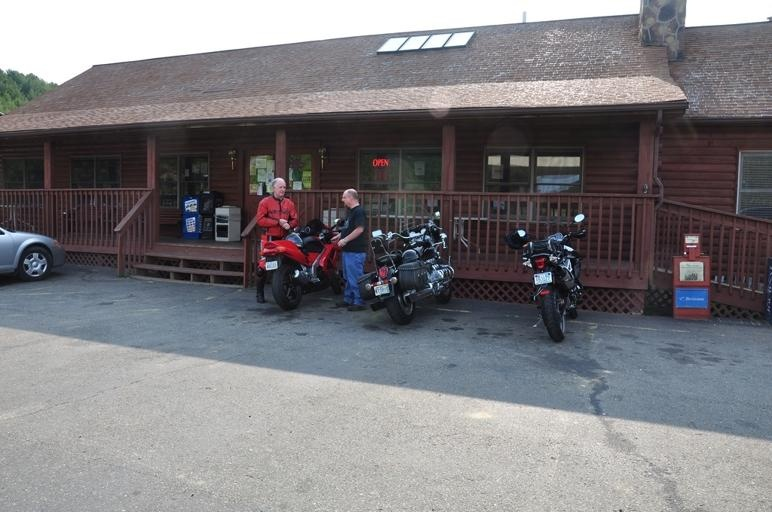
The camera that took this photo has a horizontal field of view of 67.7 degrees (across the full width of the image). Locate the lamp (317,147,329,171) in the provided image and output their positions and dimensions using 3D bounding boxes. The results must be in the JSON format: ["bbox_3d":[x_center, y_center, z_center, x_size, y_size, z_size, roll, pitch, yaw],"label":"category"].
[{"bbox_3d":[-1.686,-2.594,15.301,0.238,0.633,0.107,0,12,-7],"label":"lamp"}]

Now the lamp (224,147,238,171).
[{"bbox_3d":[-4.368,-2.733,16.296,0.373,0.612,0.126,8,13,29],"label":"lamp"}]

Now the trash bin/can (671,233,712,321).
[{"bbox_3d":[5.327,0.366,10.043,0.658,1.430,0.460,4,12,12],"label":"trash bin/can"}]

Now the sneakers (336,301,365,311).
[{"bbox_3d":[-0.666,0.868,10.230,0.594,0.236,0.183,-4,0,39],"label":"sneakers"}]

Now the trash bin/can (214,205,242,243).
[{"bbox_3d":[-4.368,-0.900,15.842,0.681,0.900,0.684,-1,12,-13],"label":"trash bin/can"}]
